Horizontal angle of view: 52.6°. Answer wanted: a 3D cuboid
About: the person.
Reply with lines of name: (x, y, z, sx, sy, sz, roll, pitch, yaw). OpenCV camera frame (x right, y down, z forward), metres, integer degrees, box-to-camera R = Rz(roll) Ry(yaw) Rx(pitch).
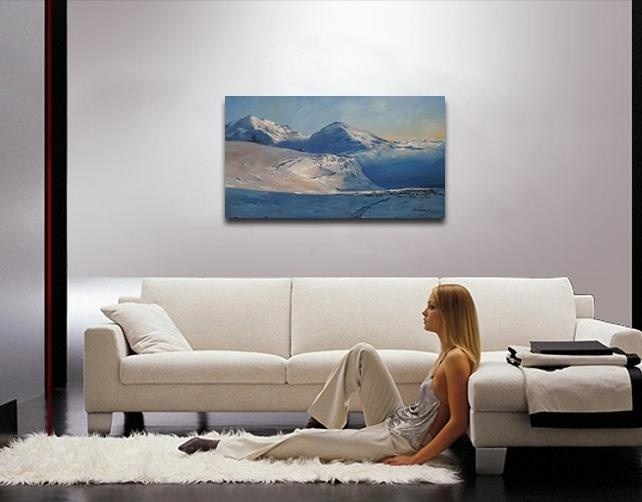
person: (0.071, 0.726, 3.776, 1.646, 1.026, 0.789, 1, -12, 0)
